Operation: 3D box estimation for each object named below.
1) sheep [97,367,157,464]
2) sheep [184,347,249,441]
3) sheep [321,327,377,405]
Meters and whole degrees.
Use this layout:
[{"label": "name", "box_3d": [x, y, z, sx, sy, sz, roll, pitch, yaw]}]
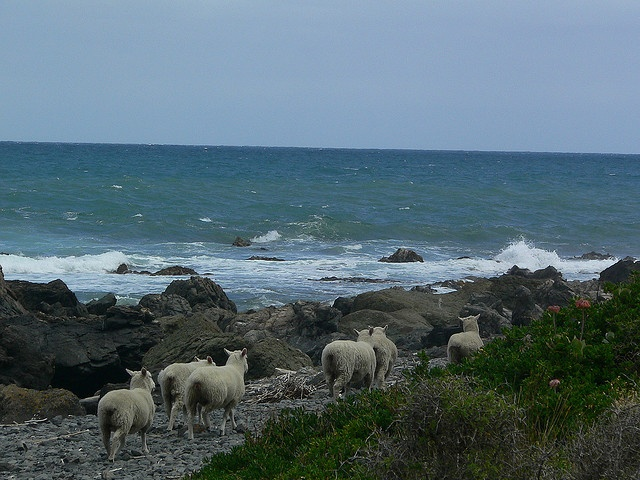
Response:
[{"label": "sheep", "box_3d": [-3.795, 3.273, 15.083, 1.217, 1.541, 1.834, -1, 5, 4]}, {"label": "sheep", "box_3d": [-2.035, 3.082, 16.065, 0.889, 1.642, 2.302, -1, -5, 18]}, {"label": "sheep", "box_3d": [0.621, 2.632, 16.364, 0.591, 1.194, 1.400, 3, 6, 40]}]
